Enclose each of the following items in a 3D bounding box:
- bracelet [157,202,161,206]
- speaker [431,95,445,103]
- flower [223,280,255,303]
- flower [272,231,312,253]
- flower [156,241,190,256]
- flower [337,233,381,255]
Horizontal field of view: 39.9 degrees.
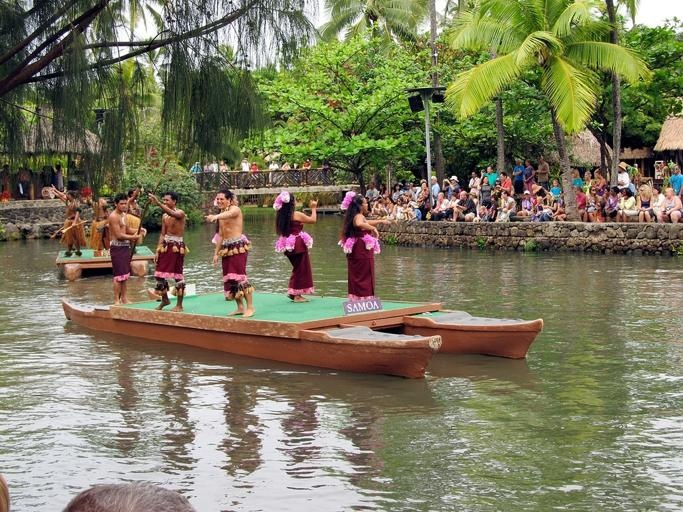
[{"bbox_3d":[-2.320,-0.659,12.051,0.043,0.076,0.059,2,10,-37],"label":"bracelet"},{"bbox_3d":[2.608,-4.243,25.215,0.459,0.228,0.295,-1,10,-16],"label":"speaker"},{"bbox_3d":[-1.263,0.430,11.826,0.296,0.157,0.287,-8,1,22],"label":"flower"},{"bbox_3d":[-0.650,-0.189,12.697,0.367,0.188,0.351,-7,5,1],"label":"flower"},{"bbox_3d":[-2.283,-0.102,12.704,0.421,0.133,0.203,-2,1,-21],"label":"flower"},{"bbox_3d":[0.247,-0.163,12.304,0.345,0.190,0.332,0,-2,-17],"label":"flower"}]
